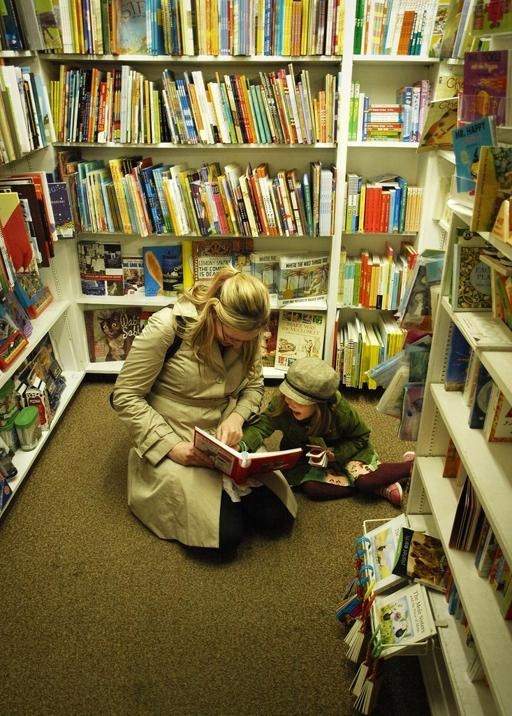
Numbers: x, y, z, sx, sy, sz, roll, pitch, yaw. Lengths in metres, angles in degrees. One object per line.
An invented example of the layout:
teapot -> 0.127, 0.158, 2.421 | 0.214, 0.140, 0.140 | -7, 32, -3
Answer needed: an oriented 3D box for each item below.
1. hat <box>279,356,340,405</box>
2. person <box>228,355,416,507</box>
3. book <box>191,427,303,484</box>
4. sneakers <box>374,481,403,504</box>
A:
hat -> 0.208, 0.083, 1.789 | 0.153, 0.087, 0.208 | 41, 34, 26
person -> 0.279, 0.291, 1.938 | 0.773, 0.565, 0.449 | 1, 19, 13
book -> 0.014, 0.384, 1.736 | 0.462, 0.437, 0.190 | -1, 72, 14
sneakers -> 0.555, 0.544, 1.982 | 0.062, 0.051, 0.147 | 13, 1, -21
